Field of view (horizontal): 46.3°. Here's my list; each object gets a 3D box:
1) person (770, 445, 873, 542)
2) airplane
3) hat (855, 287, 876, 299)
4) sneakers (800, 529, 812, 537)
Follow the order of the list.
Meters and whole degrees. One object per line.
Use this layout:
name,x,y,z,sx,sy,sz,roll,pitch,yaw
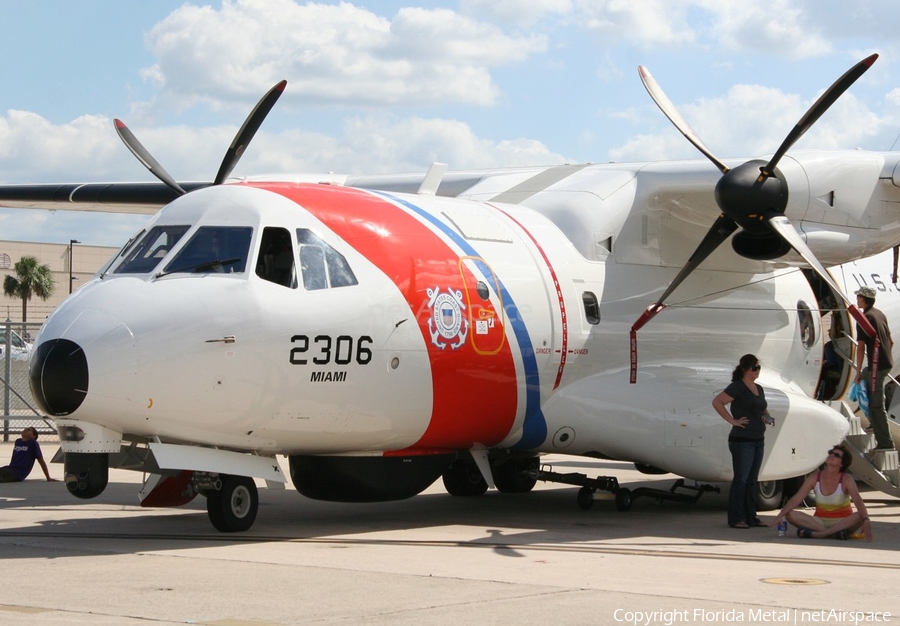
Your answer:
person,4.286,2.001,12.001,1.099,1.001,0.807,0,-6,30
airplane,0.497,0.073,12.092,8.125,3.077,7.430,3,-3,-42
hat,5.797,-0.284,14.749,0.305,0.116,0.392,3,4,-3
sneakers,4.001,2.469,11.897,0.136,0.097,0.053,-5,-10,16
